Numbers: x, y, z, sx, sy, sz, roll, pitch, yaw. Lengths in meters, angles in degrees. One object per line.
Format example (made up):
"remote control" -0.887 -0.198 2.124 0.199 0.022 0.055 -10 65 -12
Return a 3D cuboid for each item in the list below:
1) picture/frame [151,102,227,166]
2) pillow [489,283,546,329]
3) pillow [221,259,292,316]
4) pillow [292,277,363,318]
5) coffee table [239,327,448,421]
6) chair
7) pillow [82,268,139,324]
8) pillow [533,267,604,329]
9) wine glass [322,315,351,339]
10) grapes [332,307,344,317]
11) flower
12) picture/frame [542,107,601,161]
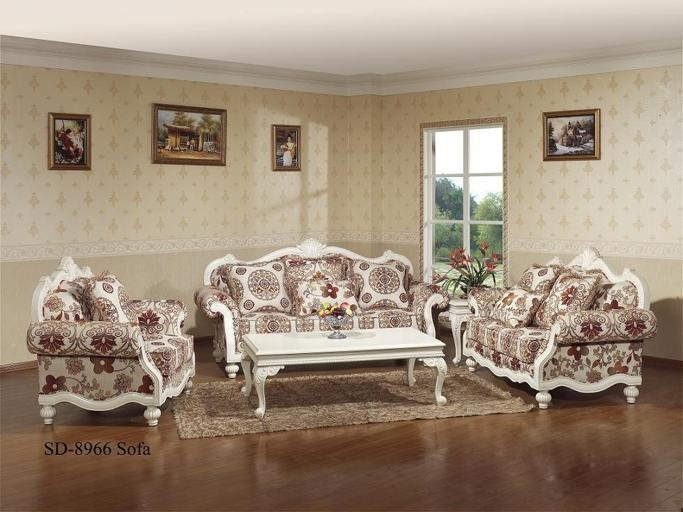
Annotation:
"picture/frame" -2.045 -1.600 7.477 1.011 0.699 0.046 -1 9 -31
"pillow" 1.786 0.520 5.724 0.129 0.388 0.419 39 -11 -32
"pillow" -0.960 0.372 6.507 0.762 0.553 0.439 -2 5 -14
"pillow" -0.200 0.463 6.423 0.689 0.391 0.194 2 -29 -8
"coffee table" 0.009 1.046 5.207 1.840 0.627 0.791 -2 5 -9
"chair" -2.007 0.700 5.262 1.088 1.324 1.429 3 4 -4
"pillow" -2.172 0.380 5.296 0.202 0.497 0.465 -27 -6 22
"pillow" 2.224 0.411 5.475 0.184 0.556 0.601 33 -22 -20
"wine glass" -0.037 0.671 5.337 0.225 0.222 0.218 1 -2 -8
"grapes" -0.015 0.521 5.215 0.087 0.042 0.083 -3 7 -16
"flower" 1.594 0.232 7.020 0.721 0.454 0.620 -8 -17 32
"picture/frame" 2.914 -1.512 7.070 0.743 0.606 0.054 4 8 37
